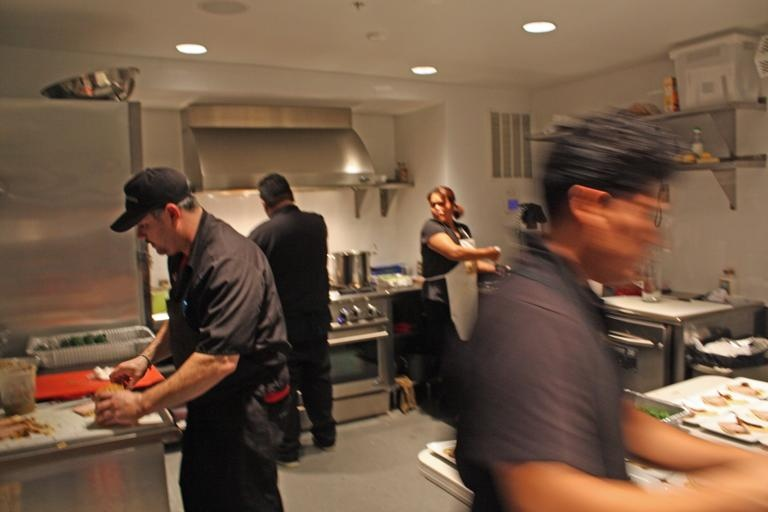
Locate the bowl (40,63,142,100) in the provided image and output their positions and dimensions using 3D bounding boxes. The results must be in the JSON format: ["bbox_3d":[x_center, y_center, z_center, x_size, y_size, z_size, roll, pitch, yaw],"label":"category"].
[{"bbox_3d":[-1.159,-0.677,2.248,0.231,0.071,0.231,-5,4,0],"label":"bowl"}]

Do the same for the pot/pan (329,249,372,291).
[{"bbox_3d":[-0.214,0.088,3.324,0.239,0.216,0.232,0,0,20],"label":"pot/pan"}]

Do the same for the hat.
[{"bbox_3d":[-0.674,-0.174,1.599,0.259,0.128,0.165,-24,27,-15],"label":"hat"}]

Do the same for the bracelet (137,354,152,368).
[{"bbox_3d":[-0.770,0.336,1.813,0.032,0.039,0.042,-13,17,-32],"label":"bracelet"}]

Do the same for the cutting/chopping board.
[{"bbox_3d":[-0.827,0.480,1.603,0.445,0.049,0.193,-4,6,-14],"label":"cutting/chopping board"}]

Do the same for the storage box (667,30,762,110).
[{"bbox_3d":[1.052,-0.595,1.768,0.296,0.211,0.318,0,4,33],"label":"storage box"}]
